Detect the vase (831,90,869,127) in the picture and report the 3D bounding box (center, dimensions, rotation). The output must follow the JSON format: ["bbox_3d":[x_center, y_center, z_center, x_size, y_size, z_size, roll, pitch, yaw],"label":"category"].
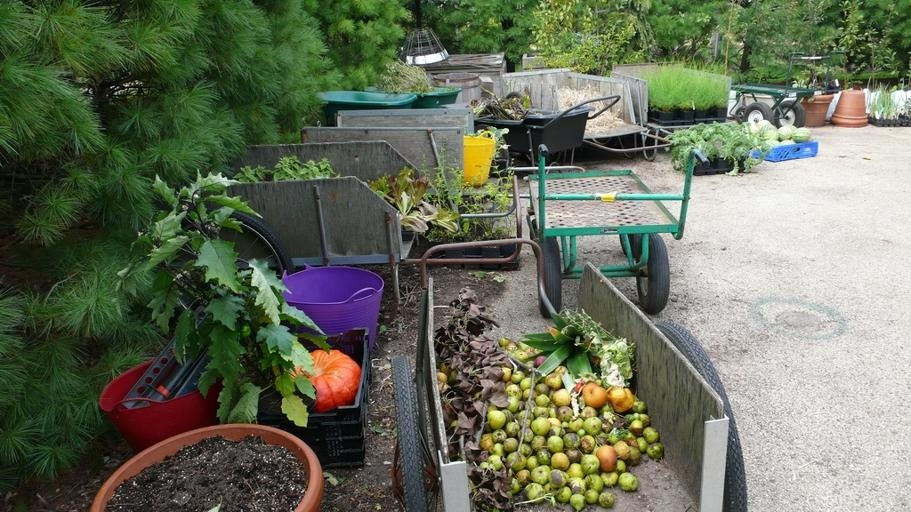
[{"bbox_3d":[8.424,-3.132,13.155,0.751,0.713,0.740,-10,18,-18],"label":"vase"}]

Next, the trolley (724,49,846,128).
[{"bbox_3d":[6.328,-3.160,12.369,1.620,0.993,1.149,5,17,25],"label":"trolley"}]

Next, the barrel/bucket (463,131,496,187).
[{"bbox_3d":[0.290,-1.324,8.286,0.690,0.687,0.698,-2,13,1],"label":"barrel/bucket"}]

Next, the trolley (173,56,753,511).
[{"bbox_3d":[0.838,0.912,5.767,2.316,2.686,3.674,0,30,4],"label":"trolley"}]

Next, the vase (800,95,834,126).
[{"bbox_3d":[7.643,-3.068,13.185,0.706,0.568,0.717,8,26,33],"label":"vase"}]

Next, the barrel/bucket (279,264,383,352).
[{"bbox_3d":[-1.183,0.401,5.934,0.799,0.746,0.874,-2,14,0],"label":"barrel/bucket"}]

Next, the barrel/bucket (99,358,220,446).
[{"bbox_3d":[-2.408,1.228,5.035,0.692,0.447,0.668,-1,16,0],"label":"barrel/bucket"}]
